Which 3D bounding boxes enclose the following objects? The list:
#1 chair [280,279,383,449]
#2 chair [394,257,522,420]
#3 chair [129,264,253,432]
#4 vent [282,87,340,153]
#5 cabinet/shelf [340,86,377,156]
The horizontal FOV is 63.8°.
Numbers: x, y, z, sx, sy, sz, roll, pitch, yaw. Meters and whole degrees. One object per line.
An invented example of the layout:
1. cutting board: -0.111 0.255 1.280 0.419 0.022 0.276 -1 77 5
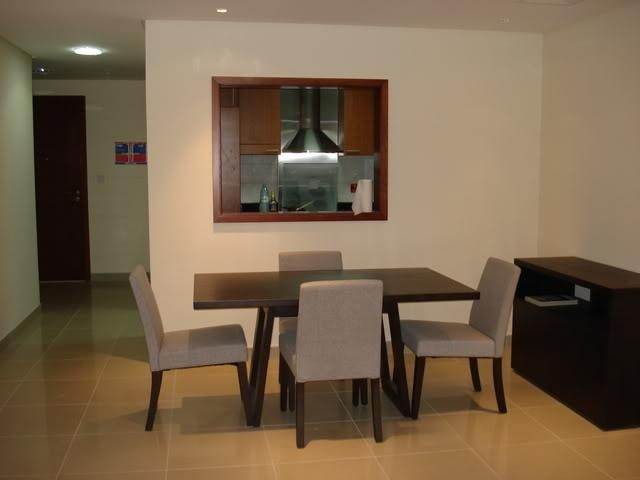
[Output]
1. chair: 0.070 0.776 3.652 0.692 1.140 0.585 -1 10 -6
2. chair: 1.070 0.748 4.132 0.837 1.161 0.828 0 3 12
3. chair: -0.955 0.774 3.912 0.782 1.086 0.642 -1 5 -11
4. vent: -0.135 -1.370 6.260 0.691 1.044 0.740 0 2 -11
5. cabinet/shelf: 0.409 -1.337 5.536 0.424 0.701 0.438 -12 34 -15
